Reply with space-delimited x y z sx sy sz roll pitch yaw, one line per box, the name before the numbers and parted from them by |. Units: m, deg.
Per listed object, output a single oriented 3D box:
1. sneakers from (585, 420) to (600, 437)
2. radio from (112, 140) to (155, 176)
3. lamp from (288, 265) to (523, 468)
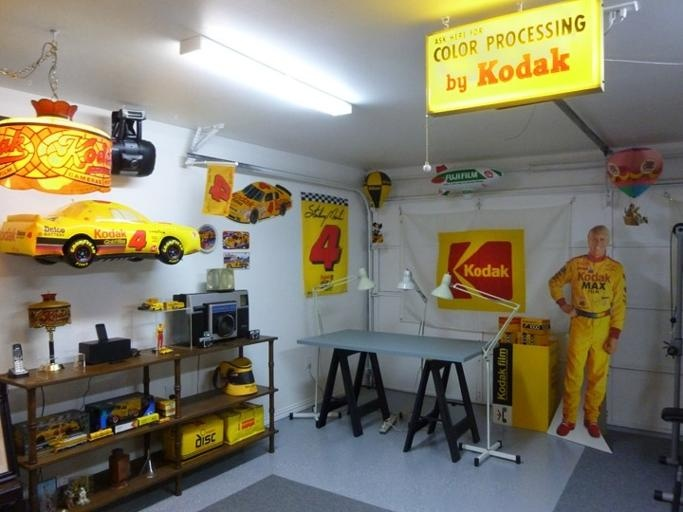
sneakers | 2.624 1.784 5.292 0.079 0.070 0.191 -7 16 6
radio | -1.724 -0.828 4.328 0.345 0.258 0.351 0 20 -8
lamp | 0.819 1.035 5.502 2.051 1.735 1.450 1 6 19
